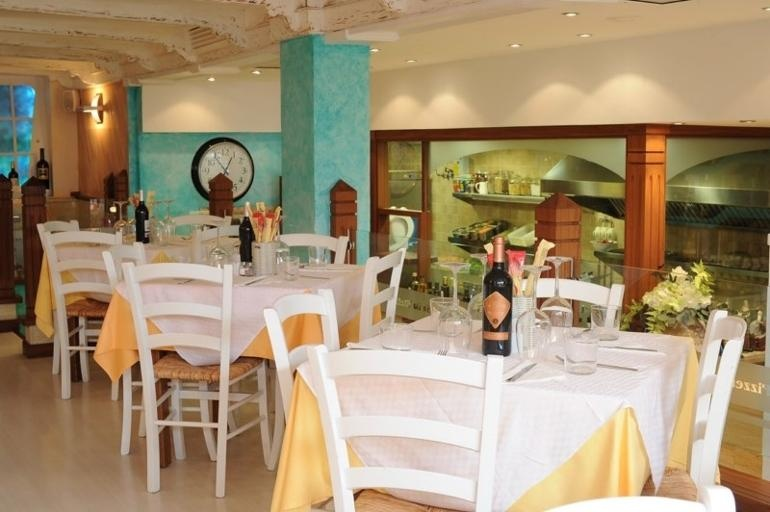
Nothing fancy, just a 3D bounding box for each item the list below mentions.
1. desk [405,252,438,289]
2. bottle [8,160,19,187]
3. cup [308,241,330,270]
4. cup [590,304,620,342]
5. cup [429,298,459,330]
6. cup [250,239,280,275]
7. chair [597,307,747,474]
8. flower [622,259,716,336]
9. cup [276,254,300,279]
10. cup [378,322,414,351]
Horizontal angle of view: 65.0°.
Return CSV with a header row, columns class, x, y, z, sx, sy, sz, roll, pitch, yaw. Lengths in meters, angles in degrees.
class,x,y,z,sx,sy,sz,roll,pitch,yaw
desk,0.300,0.149,5.238,0.284,0.354,0.377,-2,4,-19
bottle,-5.892,-1.331,9.615,0.146,0.389,0.642,-9,15,-30
cup,-0.479,0.000,4.713,0.212,0.157,0.172,-6,-6,42
cup,0.983,0.300,2.691,0.143,0.154,0.144,0,8,0
cup,0.288,0.260,2.830,0.144,0.153,0.146,2,4,0
cup,-0.765,0.008,3.905,0.200,0.264,0.196,1,5,0
chair,1.223,0.548,2.730,0.571,0.837,0.471,1,6,20
flower,1.573,0.253,3.465,0.383,0.453,0.281,20,-3,10
cup,-0.616,0.068,3.918,0.126,0.117,0.155,0,-3,-6
cup,0.061,0.352,2.619,0.110,0.082,0.114,0,-3,0
